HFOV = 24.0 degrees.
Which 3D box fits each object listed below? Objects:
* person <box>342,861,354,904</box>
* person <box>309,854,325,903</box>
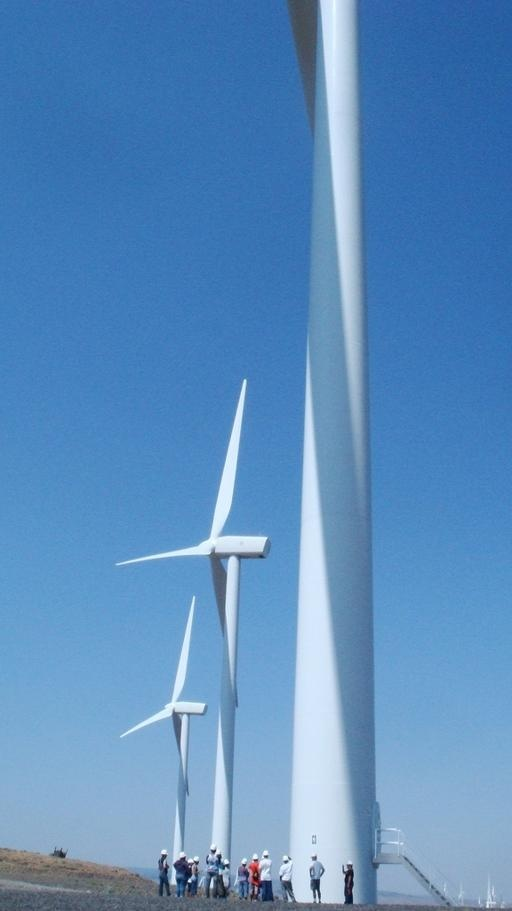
[{"bbox_3d":[1.756,8.108,22.810,0.195,0.789,0.806,1,-23,5],"label":"person"},{"bbox_3d":[1.159,8.043,22.908,0.276,0.851,0.627,2,-22,4],"label":"person"}]
